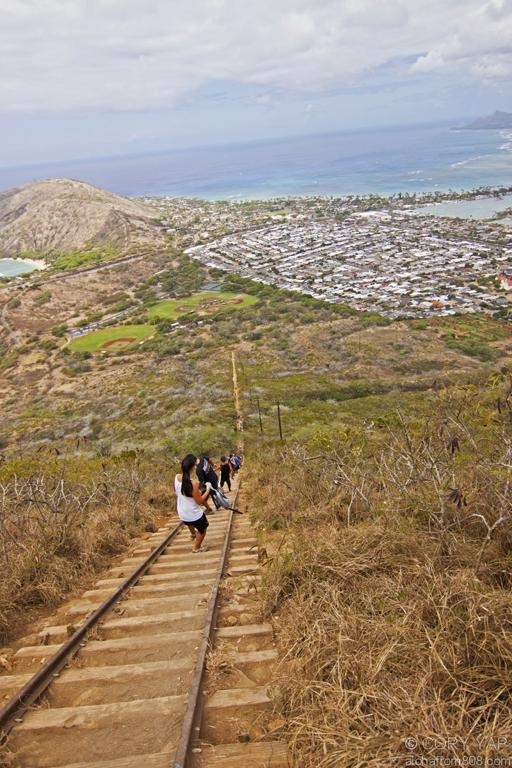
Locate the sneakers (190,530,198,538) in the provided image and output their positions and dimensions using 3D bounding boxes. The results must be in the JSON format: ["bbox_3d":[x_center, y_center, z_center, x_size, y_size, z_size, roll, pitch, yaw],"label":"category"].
[{"bbox_3d":[-0.589,1.423,5.084,0.047,0.056,0.129,2,17,-2],"label":"sneakers"}]

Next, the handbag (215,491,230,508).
[{"bbox_3d":[-0.371,1.326,6.016,0.146,0.087,0.240,35,-4,-19],"label":"handbag"}]
